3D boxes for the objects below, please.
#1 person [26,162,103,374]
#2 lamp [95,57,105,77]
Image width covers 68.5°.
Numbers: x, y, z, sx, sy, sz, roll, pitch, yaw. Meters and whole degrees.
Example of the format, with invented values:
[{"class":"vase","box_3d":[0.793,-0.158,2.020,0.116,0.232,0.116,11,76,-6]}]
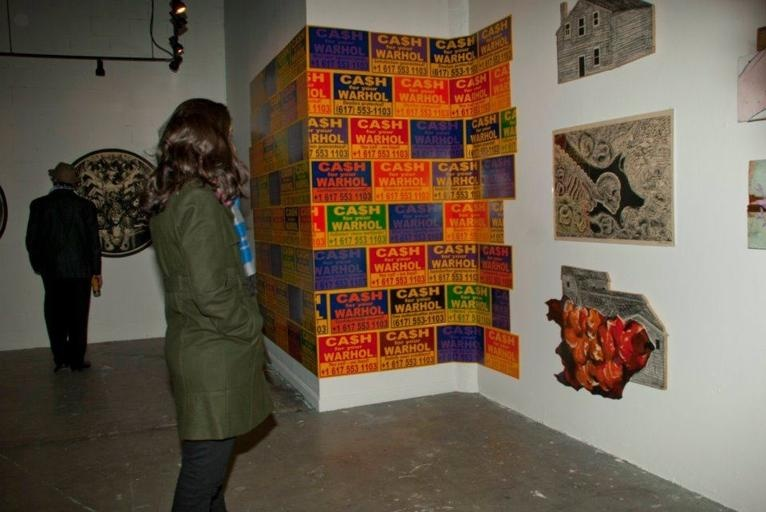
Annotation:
[{"class":"person","box_3d":[-3.301,0.262,5.890,0.626,1.865,0.451,0,9,12]},{"class":"lamp","box_3d":[-3.479,-2.309,6.910,0.122,0.205,0.137,-7,11,-27]}]
